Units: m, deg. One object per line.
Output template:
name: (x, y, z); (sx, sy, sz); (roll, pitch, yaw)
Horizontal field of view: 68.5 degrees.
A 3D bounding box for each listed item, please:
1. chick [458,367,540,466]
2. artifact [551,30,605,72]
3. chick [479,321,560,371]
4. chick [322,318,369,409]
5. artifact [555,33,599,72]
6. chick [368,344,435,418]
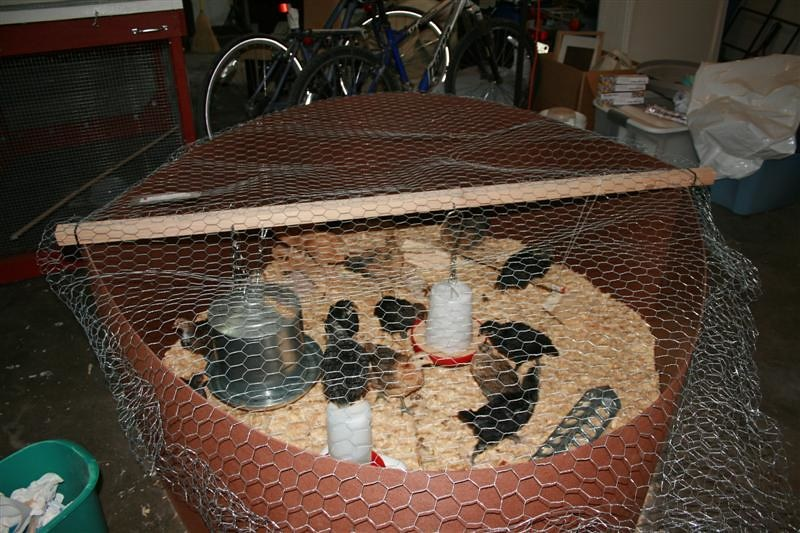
chick: (0.295, 0.398, 1.610); (0.312, 0.095, 0.152); (-17, 40, -24)
artifact: (1.200, -1.476, 4.005); (0.355, 0.329, 0.095); (12, 12, 36)
chick: (0.353, 0.236, 1.741); (0.202, 0.112, 0.129); (-5, 71, 6)
chick: (-0.159, 0.272, 1.664); (0.136, 0.089, 0.208); (12, 41, -23)
artifact: (1.208, -1.479, 4.000); (0.320, 0.296, 0.079); (18, 20, 35)
chick: (0.005, 0.328, 1.708); (0.209, 0.109, 0.204); (24, 62, -21)
